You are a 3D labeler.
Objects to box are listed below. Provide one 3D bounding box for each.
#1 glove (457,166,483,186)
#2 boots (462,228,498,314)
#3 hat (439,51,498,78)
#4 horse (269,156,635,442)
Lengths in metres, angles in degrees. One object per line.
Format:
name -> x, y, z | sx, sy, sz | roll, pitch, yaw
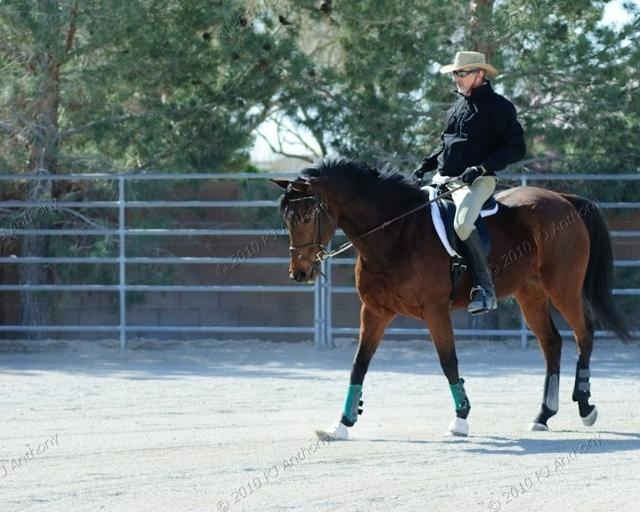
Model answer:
glove -> 1.653, -0.872, 15.033 | 0.238, 0.166, 0.086 | -8, 16, 7
boots -> 1.742, 0.171, 15.080 | 0.333, 0.920, 0.297 | -1, 13, -3
hat -> 1.727, -2.125, 15.370 | 0.480, 0.172, 0.412 | 4, -6, -28
horse -> 1.692, 0.502, 15.600 | 4.562, 2.896, 1.053 | 1, -6, -24
